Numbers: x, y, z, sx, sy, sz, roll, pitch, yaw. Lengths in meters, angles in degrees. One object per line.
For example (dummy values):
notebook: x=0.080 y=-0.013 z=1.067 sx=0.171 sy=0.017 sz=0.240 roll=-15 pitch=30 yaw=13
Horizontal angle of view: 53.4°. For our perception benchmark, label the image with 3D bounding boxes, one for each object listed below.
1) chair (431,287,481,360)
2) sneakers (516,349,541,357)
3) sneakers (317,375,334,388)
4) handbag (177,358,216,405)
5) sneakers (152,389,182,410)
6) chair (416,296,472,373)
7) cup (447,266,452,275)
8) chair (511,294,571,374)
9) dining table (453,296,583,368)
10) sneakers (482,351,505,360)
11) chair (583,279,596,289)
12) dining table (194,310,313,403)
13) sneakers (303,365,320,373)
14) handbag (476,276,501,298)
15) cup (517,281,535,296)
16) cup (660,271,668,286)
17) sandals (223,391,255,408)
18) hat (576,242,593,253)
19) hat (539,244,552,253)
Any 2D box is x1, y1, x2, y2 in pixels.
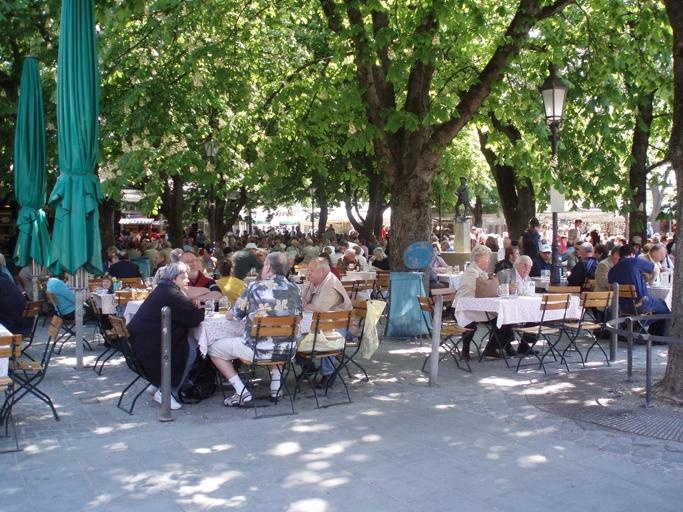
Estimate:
chair: x=1.917 y=1.181 z=12.966 sx=1.070 sy=1.463 sz=1.108 roll=-2 pitch=3 yaw=-30
sneakers: x=3.374 y=1.737 z=12.336 sx=0.329 sy=0.224 sz=0.111 roll=-2 pitch=6 yaw=2
sneakers: x=-0.259 y=1.879 z=10.322 sx=0.267 sy=0.256 sz=0.118 roll=3 pitch=1 yaw=-4
handbag: x=-2.089 y=1.717 z=9.829 sx=0.425 sy=0.607 sz=0.579 roll=19 pitch=20 yaw=7
sneakers: x=-2.442 y=1.931 z=9.291 sx=0.503 sy=0.204 sz=0.201 roll=13 pitch=13 yaw=34
chair: x=1.954 y=1.314 z=12.156 sx=1.141 sy=1.590 sz=1.114 roll=-2 pitch=8 yaw=-9
cup: x=2.706 y=0.356 z=17.143 sx=0.156 sy=0.158 sz=0.289 roll=-10 pitch=2 yaw=10
chair: x=3.555 y=1.255 z=11.548 sx=0.652 sy=1.024 sz=0.710 roll=-10 pitch=-15 yaw=-25
dining table: x=3.092 y=1.122 z=11.706 sx=1.616 sy=0.480 sz=0.884 roll=-5 pitch=8 yaw=-29
sneakers: x=2.720 y=1.760 z=12.206 sx=0.405 sy=0.176 sz=0.137 roll=-3 pitch=-3 yaw=9
chair: x=5.221 y=0.577 z=14.281 sx=0.192 sy=0.135 sz=0.197 roll=-1 pitch=4 yaw=24
dining table: x=-1.279 y=1.282 z=9.345 sx=1.401 sy=1.157 sz=1.237 roll=1 pitch=1 yaw=-30
sneakers: x=-0.465 y=1.661 z=10.215 sx=0.137 sy=0.116 sz=0.221 roll=1 pitch=9 yaw=32
handbag: x=2.519 y=0.521 z=11.684 sx=0.449 sy=0.314 sz=0.257 roll=-5 pitch=8 yaw=-37
cup: x=3.310 y=0.555 z=12.218 sx=0.290 sy=0.292 sz=0.301 roll=0 pitch=0 yaw=0
cup: x=7.742 y=0.531 z=16.337 sx=0.218 sy=0.323 sz=0.221 roll=1 pitch=12 yaw=0
sandals: x=-1.427 y=1.946 z=9.396 sx=0.401 sy=0.171 sz=0.201 roll=0 pitch=1 yaw=16
hat: x=5.516 y=-0.146 z=15.309 sx=0.278 sy=0.210 sz=0.399 roll=5 pitch=15 yaw=13
hat: x=5.277 y=-0.211 z=17.623 sx=0.291 sy=0.206 sz=0.414 roll=4 pitch=-6 yaw=6
